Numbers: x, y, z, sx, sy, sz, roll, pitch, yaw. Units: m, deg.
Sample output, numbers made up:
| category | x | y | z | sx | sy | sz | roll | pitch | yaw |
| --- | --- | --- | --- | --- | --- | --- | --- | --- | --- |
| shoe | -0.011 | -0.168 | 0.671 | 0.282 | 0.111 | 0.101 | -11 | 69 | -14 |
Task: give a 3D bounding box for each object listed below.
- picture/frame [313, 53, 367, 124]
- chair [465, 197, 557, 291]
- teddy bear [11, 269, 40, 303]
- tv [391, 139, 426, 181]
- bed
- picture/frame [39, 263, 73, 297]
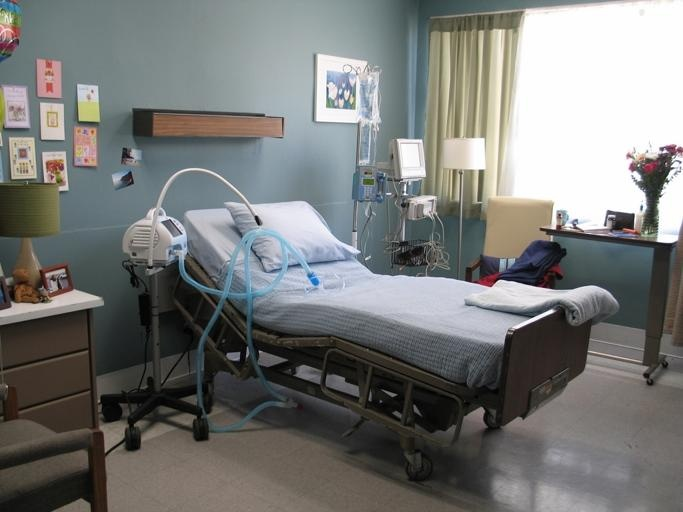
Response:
| category | x | y | z | sx | sy | sz | roll | pitch | yaw |
| --- | --- | --- | --- | --- | --- | --- | --- | --- | --- |
| picture/frame | 0.016 | -1.432 | 4.585 | 0.607 | 0.536 | 0.023 | -11 | 19 | -42 |
| chair | 1.464 | -0.159 | 4.830 | 0.710 | 1.244 | 0.799 | 3 | 7 | 24 |
| teddy bear | -1.600 | 0.147 | 2.679 | 0.142 | 0.180 | 0.138 | 2 | 2 | -8 |
| tv | 0.554 | -0.829 | 4.545 | 0.344 | 0.338 | 0.173 | -9 | 5 | -40 |
| bed | 0.152 | 0.426 | 3.390 | 2.315 | 1.330 | 1.257 | 8 | 9 | 37 |
| picture/frame | -1.503 | 0.124 | 2.783 | 0.015 | 0.156 | 0.161 | -8 | 6 | 27 |
